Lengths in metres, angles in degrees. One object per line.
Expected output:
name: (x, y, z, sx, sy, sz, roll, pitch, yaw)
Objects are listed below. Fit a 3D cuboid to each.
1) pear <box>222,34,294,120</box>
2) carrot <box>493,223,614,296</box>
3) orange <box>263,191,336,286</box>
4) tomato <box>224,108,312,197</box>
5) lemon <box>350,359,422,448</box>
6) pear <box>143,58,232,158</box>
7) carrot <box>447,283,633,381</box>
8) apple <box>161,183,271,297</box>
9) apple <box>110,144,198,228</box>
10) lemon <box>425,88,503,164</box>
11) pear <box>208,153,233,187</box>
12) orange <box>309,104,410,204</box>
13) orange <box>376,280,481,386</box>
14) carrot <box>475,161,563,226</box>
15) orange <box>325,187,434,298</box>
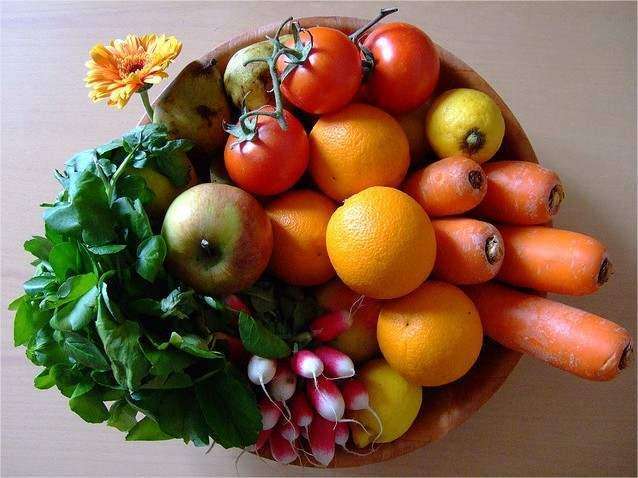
pear: (-0.133, -0.340, 1.372, 0.111, 0.171, 0.090, 0, 8, 20)
carrot: (0.497, 0.038, 1.346, 0.134, 0.139, 0.290, -31, 20, -29)
orange: (-0.041, -0.008, 1.291, 0.156, 0.158, 0.205, -1, 95, 43)
tomato: (-0.109, -0.177, 1.289, 0.178, 0.199, 0.134, -8, 51, 6)
lemon: (0.140, 0.338, 1.379, 0.129, 0.130, 0.179, -29, 52, 25)
pear: (-0.258, -0.257, 1.398, 0.160, 0.176, 0.245, -9, 88, 28)
carrot: (0.475, 0.188, 1.338, 0.420, 0.136, 0.143, 23, 103, 26)
apple: (-0.198, 0.000, 1.293, 0.195, 0.203, 0.159, 18, 17, -3)
apple: (-0.329, -0.095, 1.332, 0.128, 0.160, 0.135, 21, 38, -17)
lemon: (0.297, -0.229, 1.323, 0.135, 0.160, 0.173, 1, 13, 15)
pear: (-0.215, -0.146, 1.368, 0.061, 0.035, 0.070, 15, 100, 36)
orange: (0.092, -0.190, 1.325, 0.168, 0.168, 0.188, 17, 79, 7)
orange: (0.203, 0.254, 1.313, 0.189, 0.192, 0.199, -19, 17, 3)
carrot: (0.408, -0.099, 1.371, 0.225, 0.112, 0.124, 18, 95, 50)
orange: (0.114, -0.009, 1.272, 0.187, 0.235, 0.188, -18, 22, -18)
